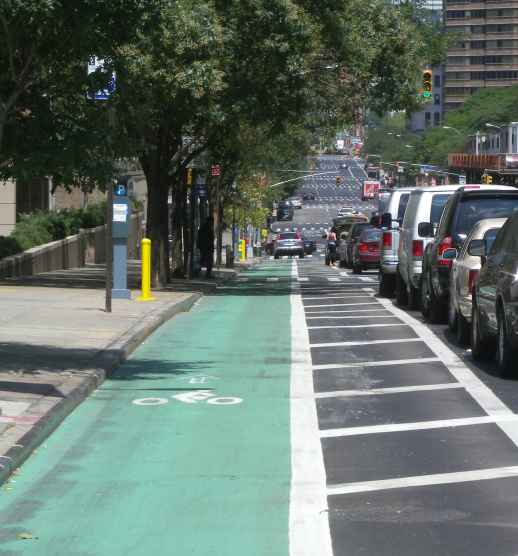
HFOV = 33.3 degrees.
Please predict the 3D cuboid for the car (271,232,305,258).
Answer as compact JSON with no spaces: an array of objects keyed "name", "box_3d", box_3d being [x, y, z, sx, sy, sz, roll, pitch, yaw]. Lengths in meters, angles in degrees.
[{"name":"car","box_3d":[2.126,-2.342,64.279,2.033,1.824,3.219,-2,8,-5]}]
